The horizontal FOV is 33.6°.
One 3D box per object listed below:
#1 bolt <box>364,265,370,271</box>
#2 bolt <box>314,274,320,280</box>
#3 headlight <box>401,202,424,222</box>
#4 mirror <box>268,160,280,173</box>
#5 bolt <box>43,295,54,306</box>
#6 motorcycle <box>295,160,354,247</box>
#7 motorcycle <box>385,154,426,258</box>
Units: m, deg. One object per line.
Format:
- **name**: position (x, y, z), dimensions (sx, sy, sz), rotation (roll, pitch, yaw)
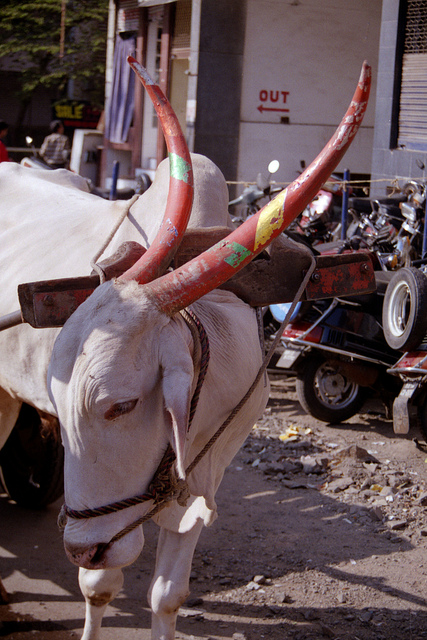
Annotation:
- **bolt**: position (0.439, -0.150, 1.981), dimensions (0.018, 0.015, 0.006), rotation (0, -6, 2)
- **bolt**: position (0.285, -0.120, 1.922), dimensions (0.015, 0.012, 0.005), rotation (2, 2, -7)
- **headlight**: position (1.553, -0.820, 5.366), dimensions (0.166, 0.063, 0.172), rotation (43, 28, 26)
- **mirror**: position (0.544, -1.427, 6.522), dimensions (0.085, 0.101, 0.206), rotation (1, 11, 9)
- **bolt**: position (-0.396, -0.047, 1.580), dimensions (0.024, 0.020, 0.007), rotation (5, 0, -19)
- **motorcycle**: position (0.994, -1.030, 6.483), dimensions (0.480, 0.616, 1.446), rotation (1, 11, 7)
- **motorcycle**: position (1.484, -0.763, 5.310), dimensions (0.293, 0.550, 0.882), rotation (3, 12, 14)
